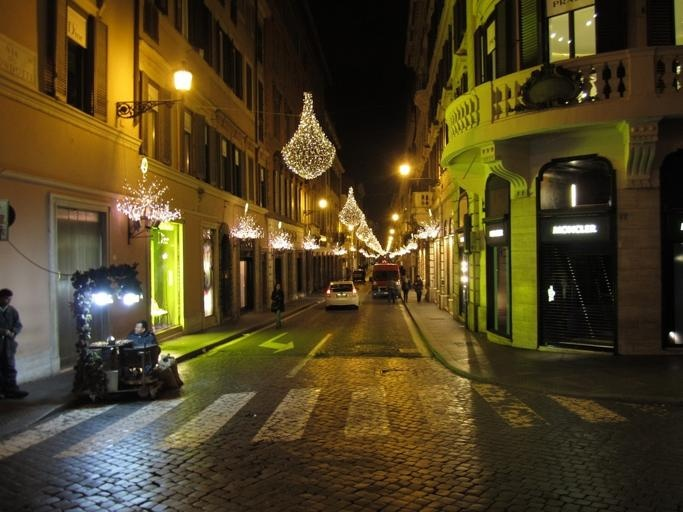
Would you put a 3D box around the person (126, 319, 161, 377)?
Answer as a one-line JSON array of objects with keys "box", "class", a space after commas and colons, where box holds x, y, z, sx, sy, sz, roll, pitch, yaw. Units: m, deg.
[{"box": [-4.608, 2.068, 14.575, 0.644, 1.005, 1.699, -3, 7, -20], "class": "person"}]

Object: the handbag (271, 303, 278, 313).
[{"box": [-2.696, 2.093, 25.281, 0.206, 0.423, 0.407, -5, -19, -21], "class": "handbag"}]

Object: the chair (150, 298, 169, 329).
[{"box": [-6.112, 1.925, 20.784, 0.657, 1.277, 0.682, -1, -1, 10], "class": "chair"}]
